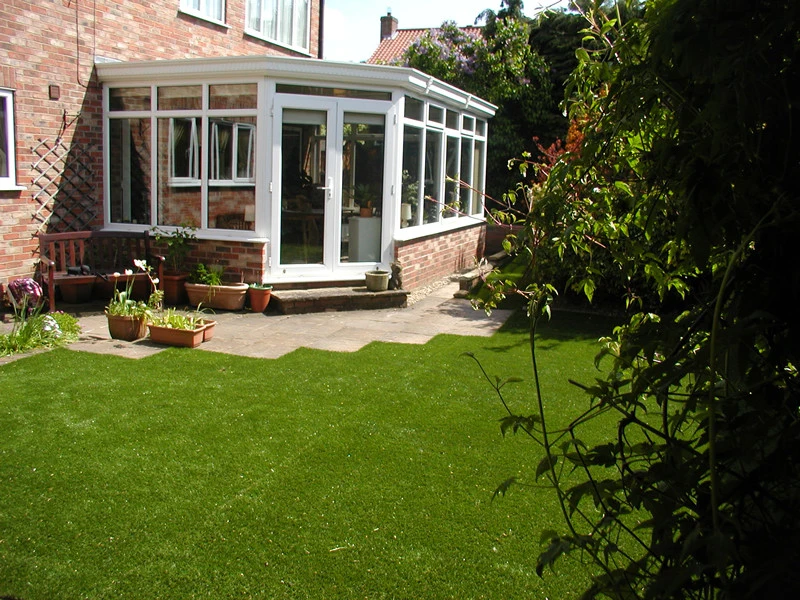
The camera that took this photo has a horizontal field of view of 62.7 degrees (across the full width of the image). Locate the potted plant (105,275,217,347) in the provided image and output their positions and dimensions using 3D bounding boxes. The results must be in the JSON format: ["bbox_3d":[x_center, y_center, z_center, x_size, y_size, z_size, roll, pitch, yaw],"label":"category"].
[{"bbox_3d":[-2.771,0.005,7.779,1.119,0.629,0.831,5,10,17],"label":"potted plant"}]

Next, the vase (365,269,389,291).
[{"bbox_3d":[-0.354,-0.334,10.177,0.298,0.203,0.293,2,7,2],"label":"vase"}]

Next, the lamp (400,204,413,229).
[{"bbox_3d":[0.104,-1.443,11.204,0.324,0.478,0.341,0,9,9],"label":"lamp"}]
